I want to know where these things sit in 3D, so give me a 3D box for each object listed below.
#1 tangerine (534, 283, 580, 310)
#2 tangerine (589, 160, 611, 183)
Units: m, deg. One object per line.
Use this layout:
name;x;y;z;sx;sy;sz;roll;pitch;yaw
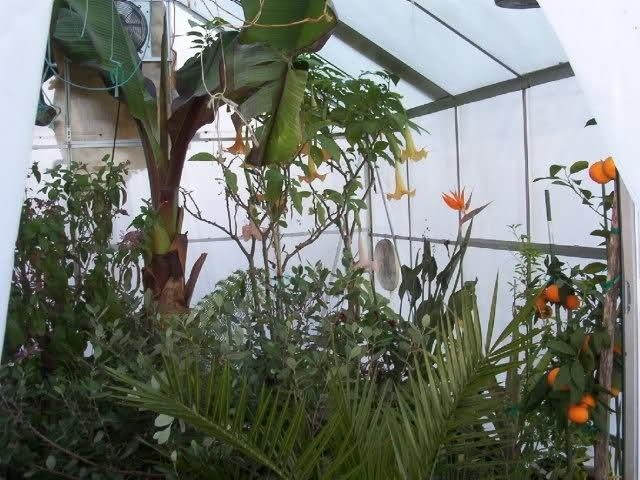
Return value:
tangerine;0.484;0.112;1.257;0.093;0.052;0.060;5;-8;-22
tangerine;0.568;-0.139;1.278;0.039;0.056;0.042;1;-2;0
